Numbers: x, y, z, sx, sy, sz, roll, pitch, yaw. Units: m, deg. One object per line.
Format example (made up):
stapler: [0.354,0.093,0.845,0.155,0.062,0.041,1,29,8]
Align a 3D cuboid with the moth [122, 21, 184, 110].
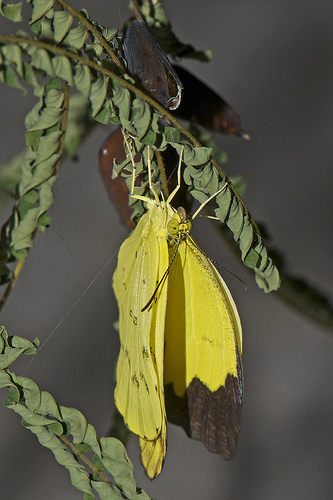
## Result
moth: [-0.013,-0.226,0.726,0.132,0.049,0.076,59,13,-9]
